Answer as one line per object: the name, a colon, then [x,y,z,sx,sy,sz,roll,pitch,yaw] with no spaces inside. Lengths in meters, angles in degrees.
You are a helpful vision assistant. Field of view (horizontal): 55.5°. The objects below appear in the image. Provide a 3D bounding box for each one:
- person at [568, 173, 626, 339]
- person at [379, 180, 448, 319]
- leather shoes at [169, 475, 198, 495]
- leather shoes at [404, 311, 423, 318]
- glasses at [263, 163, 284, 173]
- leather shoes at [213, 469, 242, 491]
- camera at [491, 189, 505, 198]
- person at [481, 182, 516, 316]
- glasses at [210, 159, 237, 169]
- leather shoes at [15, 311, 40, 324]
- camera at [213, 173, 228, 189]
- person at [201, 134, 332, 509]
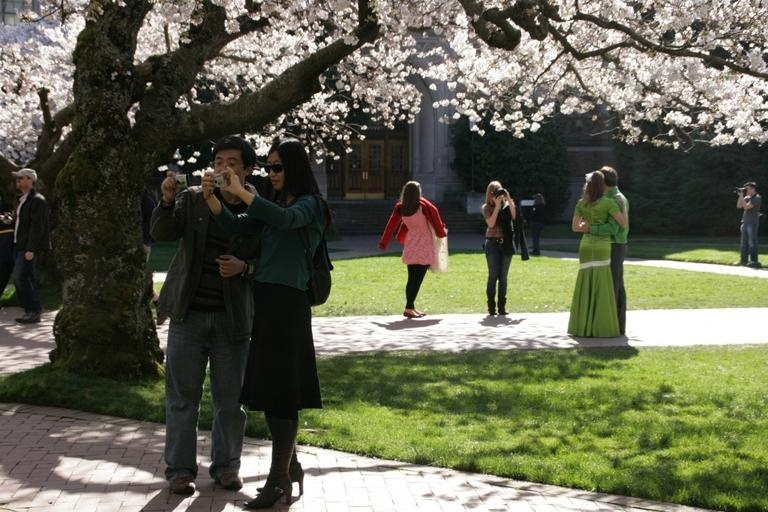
person: [3.504,-0.005,11.928,0.832,2.724,0.402,2,8,14]
person: [0.605,-0.137,14.106,1.196,2.601,1.015,0,8,0]
leather shoes: [-1.864,2.103,6.763,0.244,0.163,0.170,-2,9,-16]
leather shoes: [0.574,1.093,14.003,0.395,0.154,0.130,-2,4,7]
glasses: [-0.984,-0.801,6.711,0.123,0.048,0.128,0,-3,18]
leather shoes: [-1.466,2.104,6.854,0.275,0.112,0.136,3,3,39]
camera: [2.191,-1.189,13.774,0.229,0.152,0.146,2,9,12]
person: [2.246,-0.145,14.118,0.624,2.554,0.874,1,8,9]
glasses: [-1.465,-0.845,6.754,0.158,0.091,0.212,1,-1,2]
leather shoes: [-6.516,1.104,13.248,0.464,0.216,0.183,5,4,-21]
camera: [-1.415,-0.656,6.326,0.116,0.110,0.062,1,8,7]
person: [-0.967,0.593,6.621,1.041,3.253,0.636,-2,8,-13]
